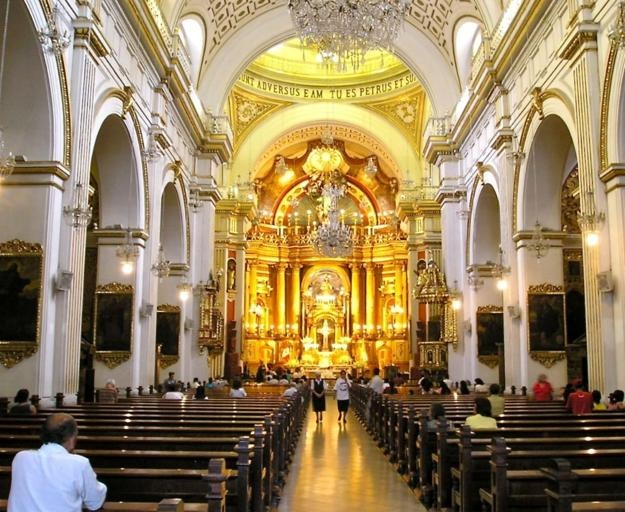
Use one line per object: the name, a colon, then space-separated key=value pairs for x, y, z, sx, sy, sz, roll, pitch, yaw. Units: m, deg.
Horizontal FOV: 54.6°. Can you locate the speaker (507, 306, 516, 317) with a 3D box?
speaker: x=4.531 y=1.265 z=13.721 sx=0.173 sy=0.219 sz=0.200 roll=2 pitch=-7 yaw=6

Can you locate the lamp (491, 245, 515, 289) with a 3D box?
lamp: x=4.436 y=0.271 z=14.271 sx=0.379 sy=1.080 sz=0.814 roll=-2 pitch=-13 yaw=9

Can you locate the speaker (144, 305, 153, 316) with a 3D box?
speaker: x=-3.845 y=1.262 z=14.183 sx=0.172 sy=0.290 sz=0.271 roll=1 pitch=-3 yaw=3

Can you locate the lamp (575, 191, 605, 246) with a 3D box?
lamp: x=4.576 y=-0.619 z=9.883 sx=0.396 sy=0.912 sz=0.529 roll=-7 pitch=-14 yaw=27

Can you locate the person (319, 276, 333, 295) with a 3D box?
person: x=0.792 y=1.629 z=32.859 sx=0.702 sy=1.088 sz=0.440 roll=2 pitch=-12 yaw=-11

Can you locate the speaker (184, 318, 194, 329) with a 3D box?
speaker: x=-3.714 y=2.058 z=18.213 sx=0.210 sy=0.449 sz=0.421 roll=-1 pitch=-4 yaw=14

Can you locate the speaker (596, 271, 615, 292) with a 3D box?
speaker: x=4.679 y=0.450 z=9.723 sx=0.244 sy=0.489 sz=0.324 roll=3 pitch=-5 yaw=-4
